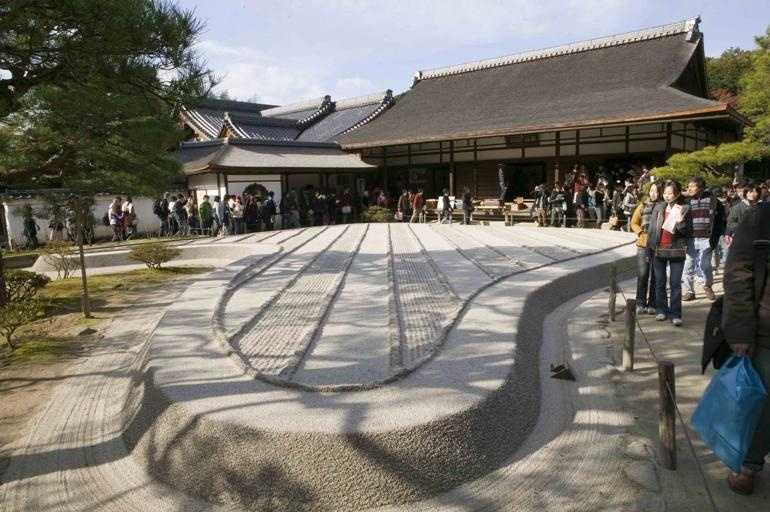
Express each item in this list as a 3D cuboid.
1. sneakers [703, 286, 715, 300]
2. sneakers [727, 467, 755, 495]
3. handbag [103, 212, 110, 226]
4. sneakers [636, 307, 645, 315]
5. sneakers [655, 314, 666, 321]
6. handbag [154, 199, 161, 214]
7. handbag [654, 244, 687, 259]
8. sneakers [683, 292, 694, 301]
[{"bbox_3d":[4.573,0.516,7.512,0.071,0.163,0.158,-10,-20,37],"label":"sneakers"},{"bbox_3d":[2.657,1.663,3.970,0.106,0.111,0.263,-1,-5,20],"label":"sneakers"},{"bbox_3d":[-8.262,-1.096,15.775,0.162,0.433,0.324,-13,18,-38],"label":"handbag"},{"bbox_3d":[3.331,0.696,6.929,0.080,0.079,0.188,-10,-10,29],"label":"sneakers"},{"bbox_3d":[3.419,0.747,6.591,0.068,0.067,0.161,-4,-8,25],"label":"sneakers"},{"bbox_3d":[-6.660,-1.415,15.586,0.172,0.470,0.668,-9,16,-27],"label":"handbag"},{"bbox_3d":[3.390,-0.056,6.342,0.321,0.160,0.078,9,17,36],"label":"handbag"},{"bbox_3d":[4.242,0.557,7.422,0.065,0.124,0.176,2,-3,13],"label":"sneakers"}]
